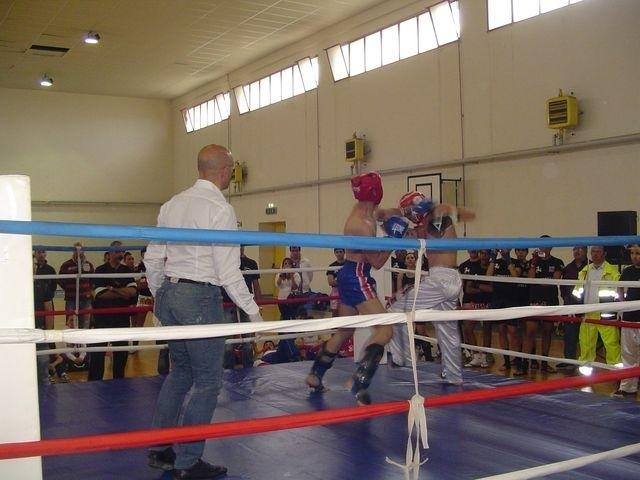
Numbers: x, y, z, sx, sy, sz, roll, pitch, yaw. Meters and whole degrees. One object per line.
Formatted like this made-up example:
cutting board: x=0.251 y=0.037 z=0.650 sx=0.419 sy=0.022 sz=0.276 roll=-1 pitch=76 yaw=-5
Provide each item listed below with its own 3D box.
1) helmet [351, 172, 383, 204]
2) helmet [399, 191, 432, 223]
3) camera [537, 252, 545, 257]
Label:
helmet: x=0.314 y=-0.337 z=3.465 sx=0.210 sy=0.203 sz=0.169 roll=-11 pitch=16 yaw=-31
helmet: x=0.676 y=-0.235 z=3.758 sx=0.223 sy=0.212 sz=0.172 roll=-17 pitch=22 yaw=-36
camera: x=2.748 y=0.178 z=6.597 sx=0.066 sy=0.067 sz=0.024 roll=0 pitch=4 yaw=11
